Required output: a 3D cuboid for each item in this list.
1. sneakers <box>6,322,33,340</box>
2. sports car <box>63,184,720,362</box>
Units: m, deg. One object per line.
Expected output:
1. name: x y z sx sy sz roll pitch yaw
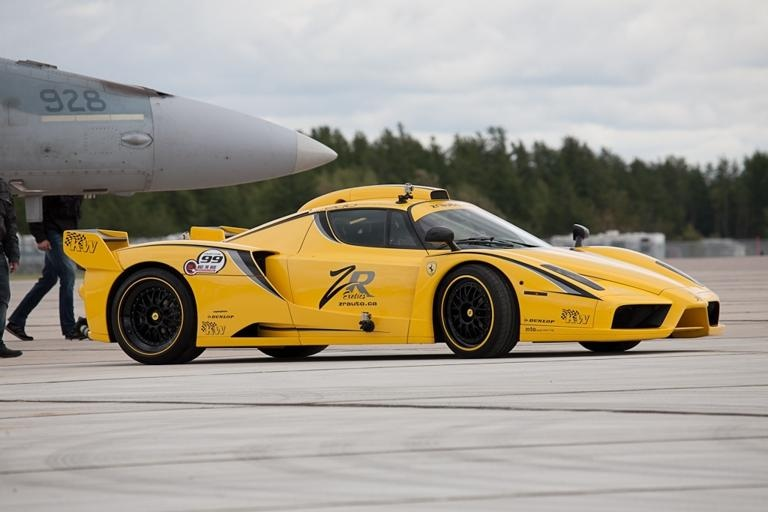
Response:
1. sneakers: -4.119 0.856 13.551 0.311 0.124 0.099 31 13 -19
2. sports car: -0.021 0.176 10.738 5.457 1.736 1.182 1 -3 17
